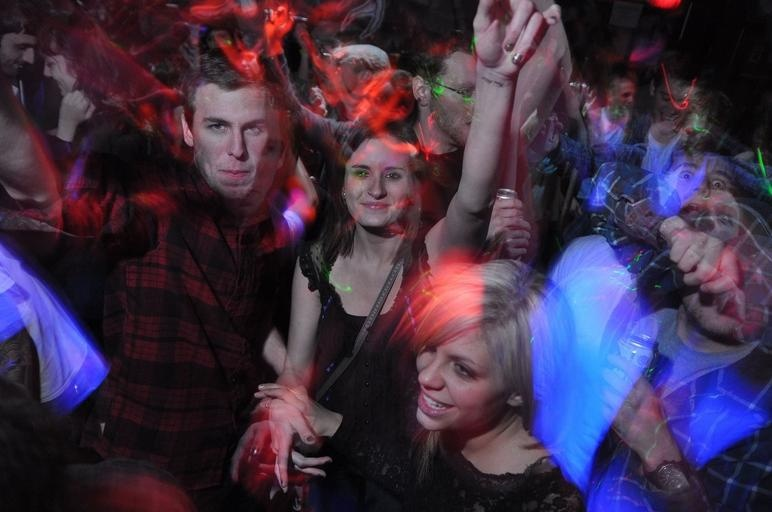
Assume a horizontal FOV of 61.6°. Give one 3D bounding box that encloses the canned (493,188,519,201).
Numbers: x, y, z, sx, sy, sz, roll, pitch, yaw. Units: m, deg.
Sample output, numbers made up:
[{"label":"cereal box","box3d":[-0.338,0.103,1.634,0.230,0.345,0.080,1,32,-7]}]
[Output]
[{"label":"canned","box3d":[0.800,-0.408,4.384,0.098,0.103,0.105,0,4,-6]}]
